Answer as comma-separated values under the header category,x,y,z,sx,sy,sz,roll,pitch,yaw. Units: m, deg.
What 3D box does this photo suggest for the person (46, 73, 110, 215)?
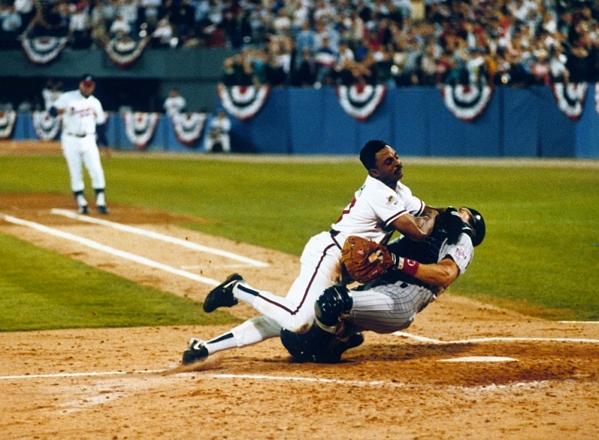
category,x,y,z,sx,sy,sz,roll,pitch,yaw
person,-3.915,-1.311,21.146,0.838,2.575,0.617,-9,16,-24

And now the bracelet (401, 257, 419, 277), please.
category,x,y,z,sx,sy,sz,roll,pitch,yaw
bracelet,1.516,0.636,16.089,0.223,0.281,0.159,0,15,5

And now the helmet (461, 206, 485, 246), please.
category,x,y,z,sx,sy,sz,roll,pitch,yaw
helmet,2.508,0.067,16.680,0.410,0.511,0.384,-1,-1,0
